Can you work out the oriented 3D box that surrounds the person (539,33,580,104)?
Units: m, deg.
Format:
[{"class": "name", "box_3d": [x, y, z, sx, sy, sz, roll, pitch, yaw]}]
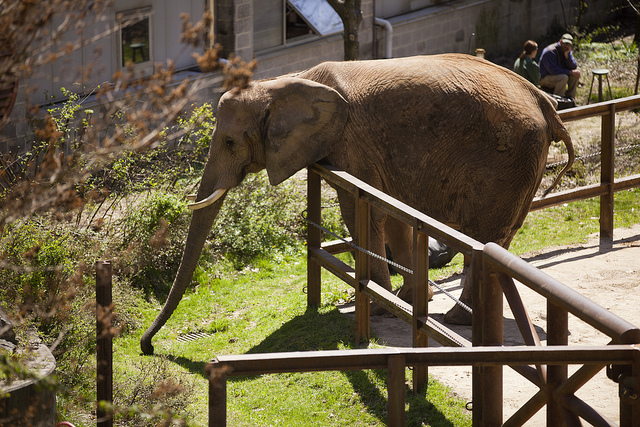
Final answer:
[{"class": "person", "box_3d": [3.781, -2.262, 19.899, 0.615, 1.072, 0.630, 4, 9, 9]}]
